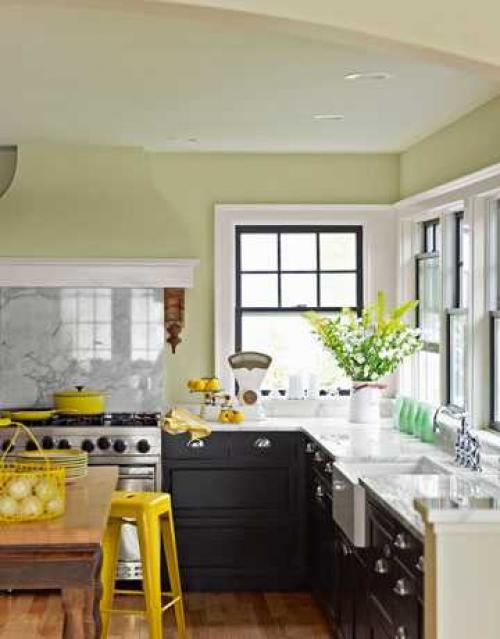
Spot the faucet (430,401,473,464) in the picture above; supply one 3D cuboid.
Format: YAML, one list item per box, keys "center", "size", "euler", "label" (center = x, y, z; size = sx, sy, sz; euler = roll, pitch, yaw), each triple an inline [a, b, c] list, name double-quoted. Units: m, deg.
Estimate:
- center: [0.787, 0.436, 2.407]
  size: [0.158, 0.233, 0.142]
  euler: [2, 19, 13]
  label: "faucet"

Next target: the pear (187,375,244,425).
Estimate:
- center: [-0.205, 0.485, 3.694]
  size: [0.303, 0.206, 0.224]
  euler: [0, -1, 4]
  label: "pear"

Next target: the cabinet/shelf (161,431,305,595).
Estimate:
- center: [-0.092, 1.015, 3.667]
  size: [0.789, 0.913, 0.535]
  euler: [-2, 5, -1]
  label: "cabinet/shelf"

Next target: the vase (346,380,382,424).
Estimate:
- center: [0.630, 0.442, 3.444]
  size: [0.222, 0.220, 0.188]
  euler: [0, 3, -21]
  label: "vase"

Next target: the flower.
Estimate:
- center: [0.646, 0.106, 3.582]
  size: [0.595, 0.492, 0.534]
  euler: [3, 9, 38]
  label: "flower"
